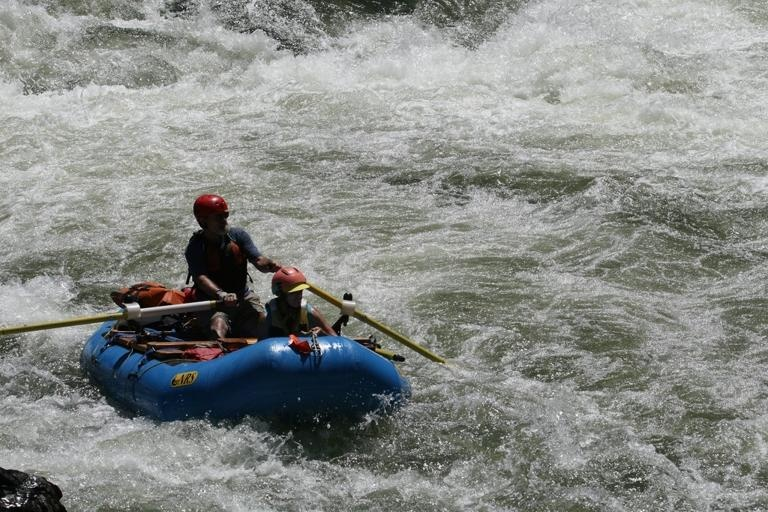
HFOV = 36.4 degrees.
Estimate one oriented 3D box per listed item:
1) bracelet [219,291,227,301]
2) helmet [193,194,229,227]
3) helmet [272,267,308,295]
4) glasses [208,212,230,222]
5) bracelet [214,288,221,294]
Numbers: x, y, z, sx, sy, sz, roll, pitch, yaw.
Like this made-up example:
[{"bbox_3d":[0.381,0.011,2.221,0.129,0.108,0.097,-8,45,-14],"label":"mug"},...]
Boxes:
[{"bbox_3d":[-2.154,0.545,15.601,0.101,0.034,0.108,-3,30,2],"label":"bracelet"},{"bbox_3d":[-2.308,-0.623,15.919,0.532,0.367,0.353,17,-13,-9],"label":"helmet"},{"bbox_3d":[-1.219,0.326,15.341,0.504,0.201,0.312,-4,5,17],"label":"helmet"},{"bbox_3d":[-2.215,-0.513,15.785,0.202,0.078,0.136,-11,5,11],"label":"glasses"},{"bbox_3d":[-2.244,0.479,15.693,0.075,0.020,0.061,5,25,4],"label":"bracelet"}]
